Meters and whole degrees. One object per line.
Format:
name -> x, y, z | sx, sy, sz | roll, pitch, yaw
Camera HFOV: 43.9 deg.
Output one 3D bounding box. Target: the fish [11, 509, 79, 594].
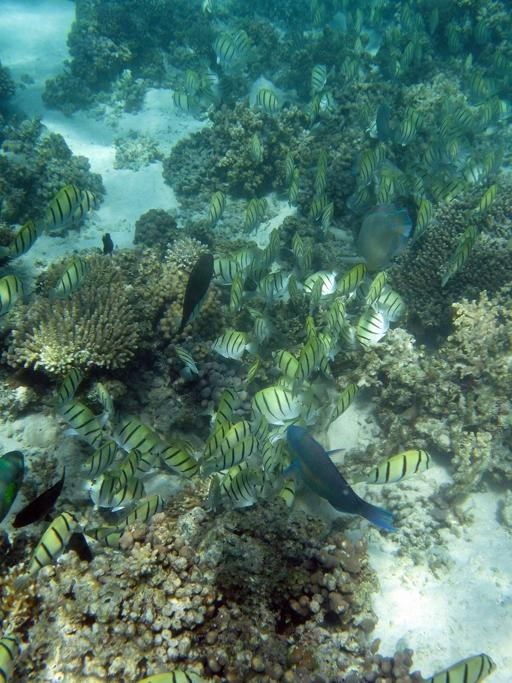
fish -> -2.099, 2.138, 6.322 | 0.159, 0.360, 0.780 | 20, 54, 26
